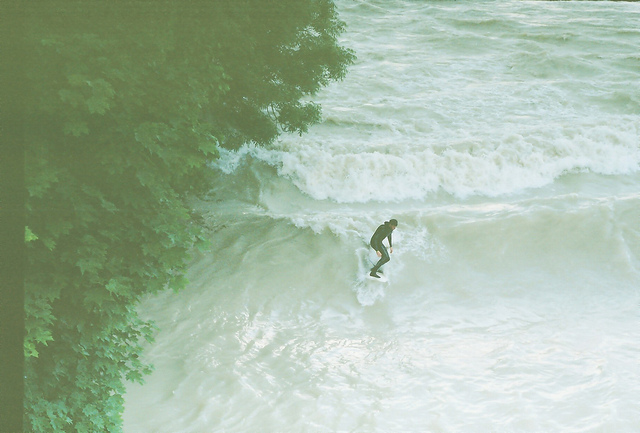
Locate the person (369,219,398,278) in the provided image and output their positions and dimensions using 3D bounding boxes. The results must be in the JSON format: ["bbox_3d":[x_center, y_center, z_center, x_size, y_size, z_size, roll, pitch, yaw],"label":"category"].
[{"bbox_3d":[2.216,1.236,30.673,1.001,2.121,0.927,9,38,2],"label":"person"}]
